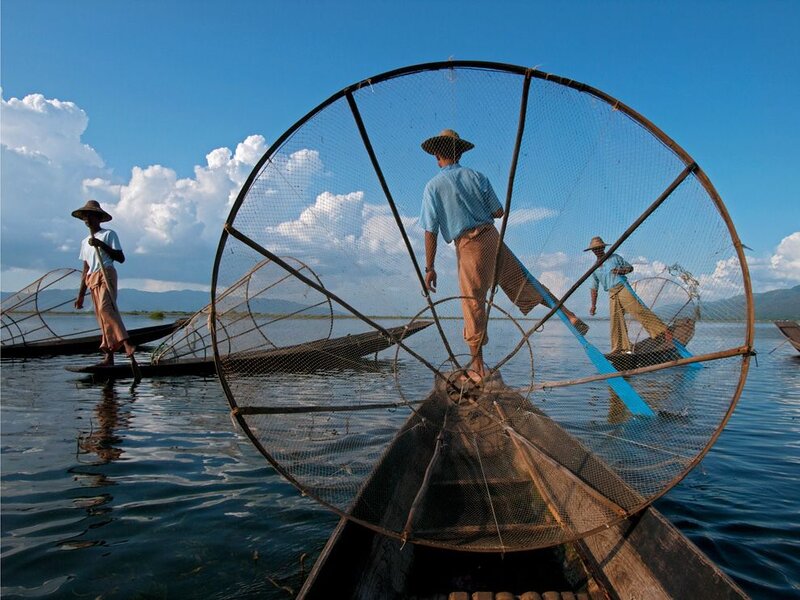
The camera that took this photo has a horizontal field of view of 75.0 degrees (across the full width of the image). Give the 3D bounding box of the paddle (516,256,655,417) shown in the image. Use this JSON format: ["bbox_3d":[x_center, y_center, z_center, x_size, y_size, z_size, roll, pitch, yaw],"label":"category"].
[{"bbox_3d":[2.829,0.975,6.152,0.398,0.631,7.810,-14,-22,32],"label":"paddle"}]

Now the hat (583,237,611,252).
[{"bbox_3d":[1.607,-0.423,4.232,0.108,0.045,0.115,0,-32,-4],"label":"hat"}]

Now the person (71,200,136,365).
[{"bbox_3d":[-5.341,-0.225,9.221,1.362,2.904,0.739,5,6,44],"label":"person"}]

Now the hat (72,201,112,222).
[{"bbox_3d":[-5.362,-1.499,8.962,0.525,0.321,0.766,-2,6,-32],"label":"hat"}]

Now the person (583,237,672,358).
[{"bbox_3d":[2.072,-0.058,4.848,0.601,1.222,0.310,-20,-42,25],"label":"person"}]
